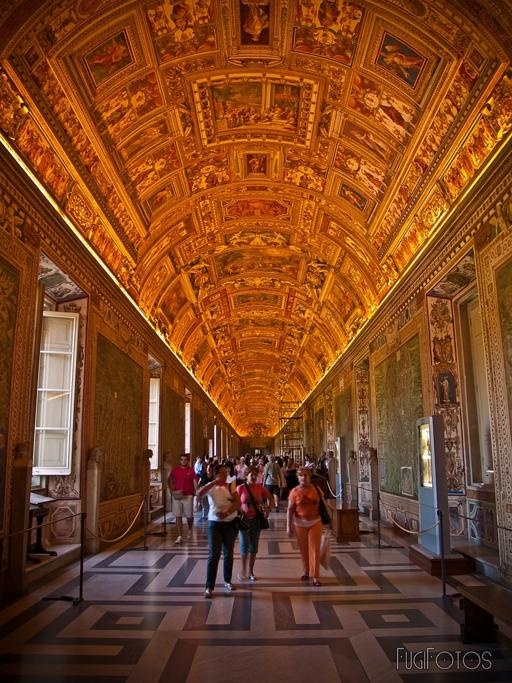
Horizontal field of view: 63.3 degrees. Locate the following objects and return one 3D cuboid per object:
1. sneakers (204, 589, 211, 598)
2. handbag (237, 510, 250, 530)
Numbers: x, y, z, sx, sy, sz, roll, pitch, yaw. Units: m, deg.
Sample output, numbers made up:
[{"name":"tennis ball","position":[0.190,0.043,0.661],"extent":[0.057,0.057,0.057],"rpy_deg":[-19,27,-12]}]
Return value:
[{"name":"sneakers","position":[-0.594,3.166,5.182],"extent":[0.080,0.097,0.129],"rpy_deg":[1,-16,-9]},{"name":"handbag","position":[-0.175,2.565,5.877],"extent":[0.148,0.332,0.336],"rpy_deg":[-8,-20,16]}]
